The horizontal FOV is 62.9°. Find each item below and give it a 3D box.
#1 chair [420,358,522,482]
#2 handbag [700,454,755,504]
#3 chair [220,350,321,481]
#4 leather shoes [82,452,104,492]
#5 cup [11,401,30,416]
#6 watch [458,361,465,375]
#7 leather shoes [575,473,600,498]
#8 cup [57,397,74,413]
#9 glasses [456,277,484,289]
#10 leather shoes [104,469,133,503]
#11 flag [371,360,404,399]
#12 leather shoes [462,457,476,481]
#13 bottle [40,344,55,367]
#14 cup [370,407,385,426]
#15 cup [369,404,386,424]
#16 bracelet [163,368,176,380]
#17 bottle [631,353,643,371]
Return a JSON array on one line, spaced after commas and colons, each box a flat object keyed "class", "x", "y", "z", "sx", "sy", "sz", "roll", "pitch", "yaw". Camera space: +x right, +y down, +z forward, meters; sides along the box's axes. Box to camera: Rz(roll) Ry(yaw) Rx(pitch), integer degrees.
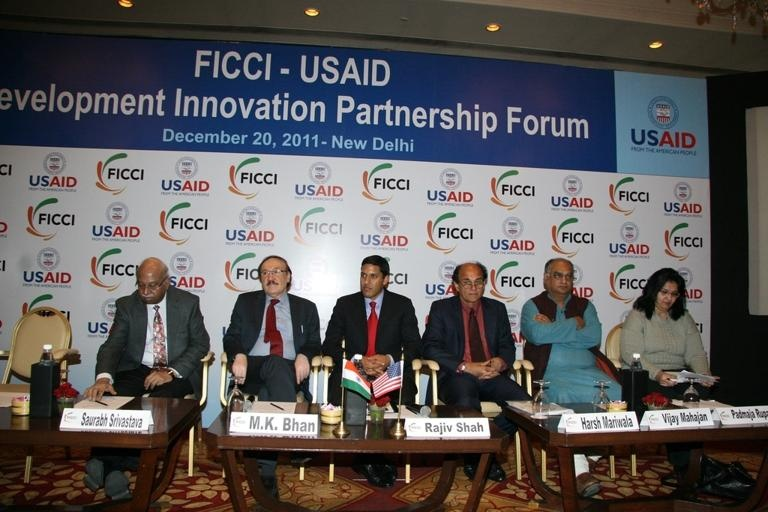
[{"class": "chair", "x": 0.792, "y": 1.532, "z": 5.790, "sx": 0.805, "sy": 1.470, "sz": 1.002, "roll": 3, "pitch": -24, "yaw": -4}, {"class": "handbag", "x": 2.752, "y": 1.769, "z": 5.033, "sx": 0.354, "sy": 0.121, "sz": 0.308, "roll": 8, "pitch": 30, "yaw": 14}, {"class": "chair", "x": -0.965, "y": 1.306, "z": 5.314, "sx": 0.817, "sy": 1.118, "sz": 0.826, "roll": 2, "pitch": -6, "yaw": 3}, {"class": "leather shoes", "x": -2.215, "y": 1.633, "z": 4.883, "sx": 0.171, "sy": 0.253, "sz": 0.231, "roll": -6, "pitch": 7, "yaw": -40}, {"class": "cup", "x": -2.631, "y": 1.076, "z": 4.536, "sx": 0.104, "sy": 0.080, "sz": 0.108, "roll": 1, "pitch": -6, "yaw": 0}, {"class": "watch", "x": 0.692, "y": 0.996, "z": 5.655, "sx": 0.035, "sy": 0.083, "sz": 0.080, "roll": 28, "pitch": 12, "yaw": -14}, {"class": "leather shoes", "x": 1.605, "y": 1.801, "z": 5.027, "sx": 0.156, "sy": 0.084, "sz": 0.206, "roll": 0, "pitch": 4, "yaw": -8}, {"class": "cup", "x": -2.353, "y": 1.081, "z": 4.607, "sx": 0.096, "sy": 0.108, "sz": 0.109, "roll": 2, "pitch": -6, "yaw": -1}, {"class": "glasses", "x": 0.802, "y": 0.240, "z": 5.815, "sx": 0.244, "sy": 0.084, "sz": 0.101, "roll": -1, "pitch": -1, "yaw": 6}, {"class": "leather shoes", "x": -2.025, "y": 1.719, "z": 4.742, "sx": 0.167, "sy": 0.245, "sz": 0.082, "roll": -5, "pitch": 5, "yaw": -14}, {"class": "flag", "x": 0.013, "y": 0.917, "z": 4.646, "sx": 0.245, "sy": 0.268, "sz": 0.161, "roll": -1, "pitch": -1, "yaw": -12}, {"class": "leather shoes", "x": 0.721, "y": 1.808, "z": 5.395, "sx": 0.131, "sy": 0.228, "sz": 0.086, "roll": 1, "pitch": 2, "yaw": 12}, {"class": "bottle", "x": -2.492, "y": 0.713, "z": 4.614, "sx": 0.083, "sy": 0.132, "sz": 0.161, "roll": 0, "pitch": -2, "yaw": -32}, {"class": "cup", "x": -0.060, "y": 1.129, "z": 4.470, "sx": 0.098, "sy": 0.096, "sz": 0.112, "roll": -1, "pitch": -9, "yaw": 17}, {"class": "cup", "x": -0.061, "y": 1.126, "z": 4.522, "sx": 0.114, "sy": 0.097, "sz": 0.105, "roll": 2, "pitch": -6, "yaw": 0}, {"class": "bracelet", "x": -1.878, "y": 1.013, "z": 5.472, "sx": 0.067, "sy": 0.090, "sz": 0.076, "roll": 1, "pitch": -30, "yaw": -35}, {"class": "bottle", "x": 1.936, "y": 0.803, "z": 4.835, "sx": 0.069, "sy": 0.115, "sz": 0.152, "roll": -2, "pitch": -1, "yaw": 22}]
